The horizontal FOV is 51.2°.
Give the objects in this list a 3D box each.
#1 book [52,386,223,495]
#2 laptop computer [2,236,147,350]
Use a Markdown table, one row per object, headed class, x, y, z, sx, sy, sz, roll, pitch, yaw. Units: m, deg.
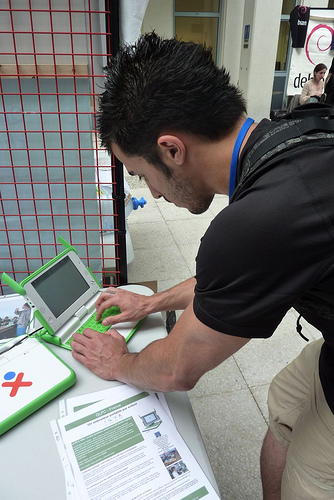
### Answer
| class | x | y | z | sx | sy | sz | roll | pitch | yaw |
| --- | --- | --- | --- | --- | --- | --- | --- | --- | --- |
| book | -0.064 | 0.357 | 0.607 | 0.166 | 0.023 | 0.272 | -13 | 35 | -26 |
| laptop computer | -0.212 | 0.104 | 0.932 | 0.282 | 0.220 | 0.274 | 7 | 29 | 7 |
